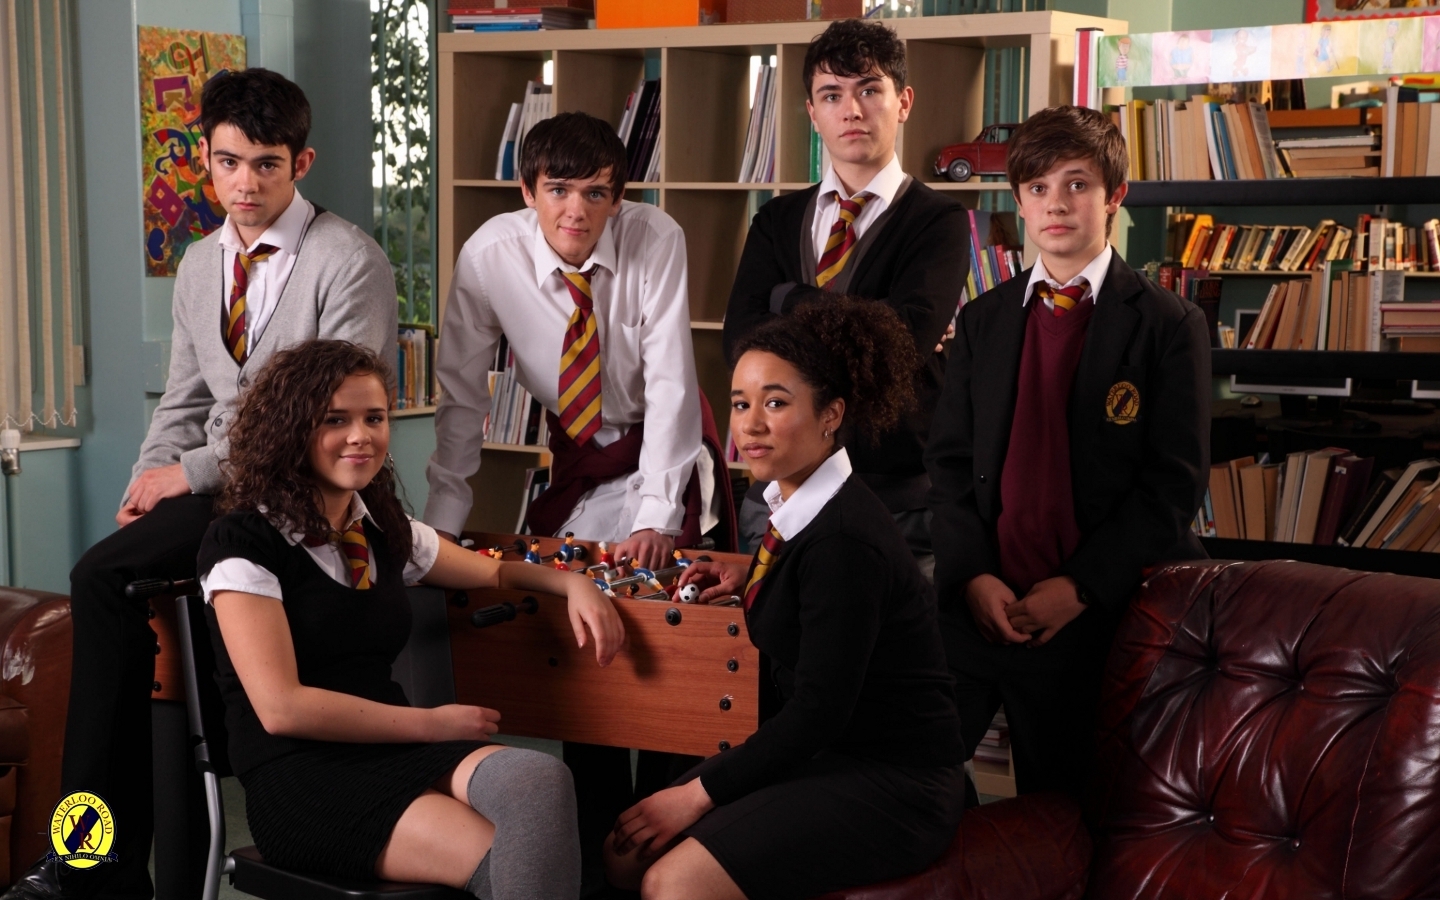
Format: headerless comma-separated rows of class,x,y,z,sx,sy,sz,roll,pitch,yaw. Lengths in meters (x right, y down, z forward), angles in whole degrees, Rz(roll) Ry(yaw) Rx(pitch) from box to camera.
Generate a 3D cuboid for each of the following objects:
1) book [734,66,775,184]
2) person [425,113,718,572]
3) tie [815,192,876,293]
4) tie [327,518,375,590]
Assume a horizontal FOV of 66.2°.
book,0.168,-1.394,4.737,0.110,0.393,0.398,6,1,-2
person,-0.477,-0.310,3.473,0.997,1.355,1.024,-7,21,-14
tie,0.379,-0.652,3.446,0.120,0.365,0.037,20,-21,3
tie,-0.871,0.260,2.655,0.071,0.168,0.026,-1,6,15
